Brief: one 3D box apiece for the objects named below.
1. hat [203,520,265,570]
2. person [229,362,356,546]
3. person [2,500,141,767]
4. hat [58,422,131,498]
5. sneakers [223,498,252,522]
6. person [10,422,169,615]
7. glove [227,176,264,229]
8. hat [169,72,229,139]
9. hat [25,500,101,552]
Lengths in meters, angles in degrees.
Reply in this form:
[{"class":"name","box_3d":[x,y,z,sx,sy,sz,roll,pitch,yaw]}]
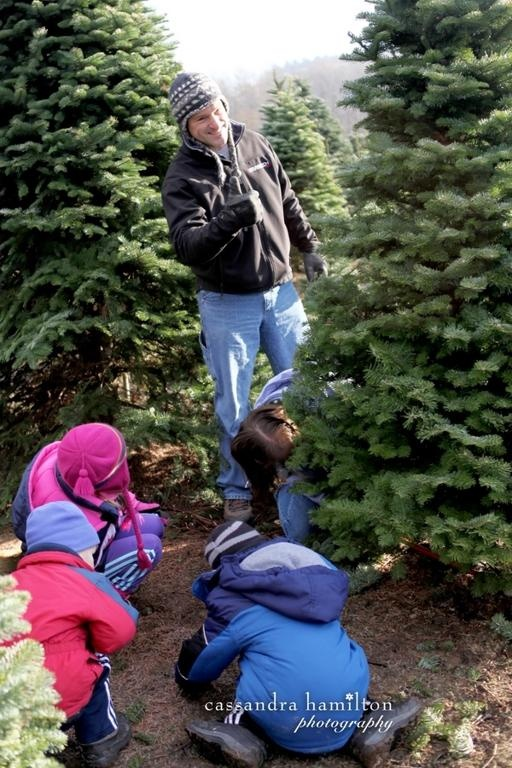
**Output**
[{"class":"hat","box_3d":[-0.099,0.617,2.647,0.227,0.156,0.194,5,-23,24]},{"class":"person","box_3d":[0.080,0.429,3.365,0.367,0.969,1.007,-10,9,0]},{"class":"person","box_3d":[-0.550,0.862,2.189,0.333,0.888,0.446,-13,10,-14]},{"class":"hat","box_3d":[-0.569,0.310,2.447,0.230,0.285,0.254,-4,-32,20]},{"class":"sneakers","box_3d":[-0.128,0.715,3.721,0.115,0.138,0.146,15,-17,-27]},{"class":"person","box_3d":[-0.630,0.552,2.660,0.549,0.868,0.418,5,34,-5]},{"class":"glove","box_3d":[-0.058,-0.778,2.952,0.148,0.148,0.079,-10,10,-4]},{"class":"hat","box_3d":[-0.293,-1.385,3.272,0.272,0.254,0.255,-13,23,22]},{"class":"hat","box_3d":[-0.663,0.492,2.297,0.183,0.140,0.189,-17,-10,40]}]
